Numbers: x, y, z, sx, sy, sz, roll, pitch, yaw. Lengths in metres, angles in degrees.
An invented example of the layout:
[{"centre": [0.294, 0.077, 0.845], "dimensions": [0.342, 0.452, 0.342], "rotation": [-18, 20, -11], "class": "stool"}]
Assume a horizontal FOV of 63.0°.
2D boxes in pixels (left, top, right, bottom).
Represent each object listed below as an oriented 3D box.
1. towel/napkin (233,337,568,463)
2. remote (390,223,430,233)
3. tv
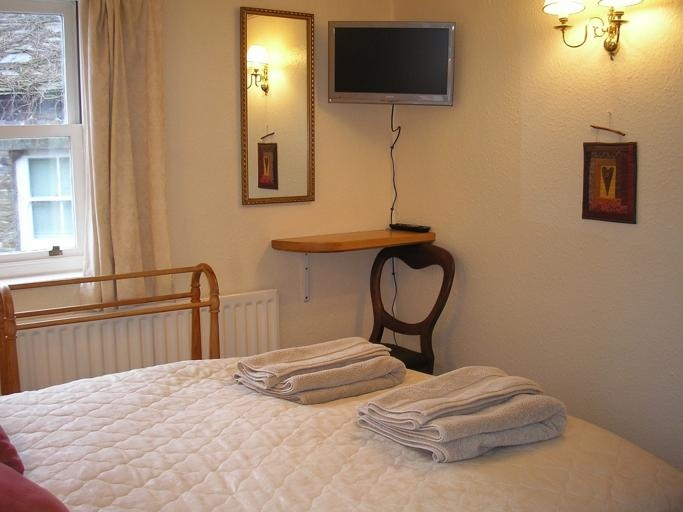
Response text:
[{"centre": [0.173, 0.452, 1.874], "dimensions": [0.755, 0.131, 0.462], "rotation": [10, 10, 41], "class": "towel/napkin"}, {"centre": [0.425, -0.177, 3.482], "dimensions": [0.282, 0.041, 0.123], "rotation": [4, 11, 25], "class": "remote"}, {"centre": [0.298, -1.118, 3.198], "dimensions": [0.516, 0.336, 0.034], "rotation": [1, 12, 5], "class": "tv"}]
